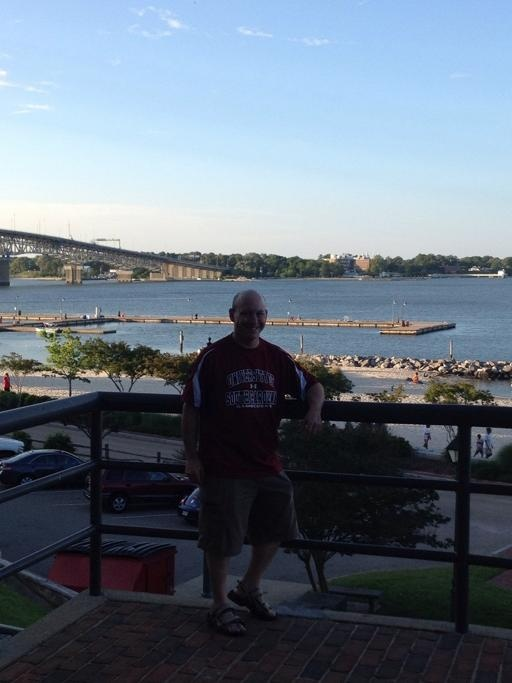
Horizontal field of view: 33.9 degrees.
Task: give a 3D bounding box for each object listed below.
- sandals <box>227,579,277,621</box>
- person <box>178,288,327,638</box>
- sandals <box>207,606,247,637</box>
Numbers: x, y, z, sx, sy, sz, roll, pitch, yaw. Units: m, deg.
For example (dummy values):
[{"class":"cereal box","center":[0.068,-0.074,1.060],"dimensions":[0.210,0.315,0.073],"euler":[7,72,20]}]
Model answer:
[{"class":"sandals","center":[-0.023,1.048,3.438],"dimensions":[0.234,0.094,0.092],"euler":[27,14,20]},{"class":"person","center":[0.009,0.455,3.344],"dimensions":[0.558,1.237,0.390],"euler":[-5,-1,0]},{"class":"sandals","center":[-0.108,1.073,3.233],"dimensions":[0.078,0.060,0.147],"euler":[0,-3,-41]}]
